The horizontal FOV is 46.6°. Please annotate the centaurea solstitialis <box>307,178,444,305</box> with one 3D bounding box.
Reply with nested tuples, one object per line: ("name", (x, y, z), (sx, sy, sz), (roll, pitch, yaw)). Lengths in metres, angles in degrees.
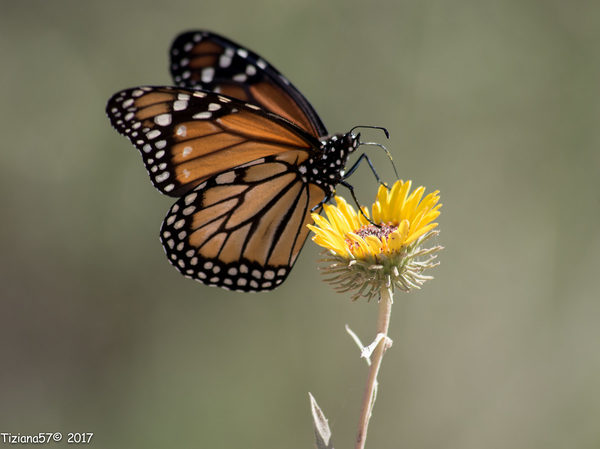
("centaurea solstitialis", (0.411, 0.081, 3.624), (0.589, 0.641, 0.524), (-14, -72, 19))
